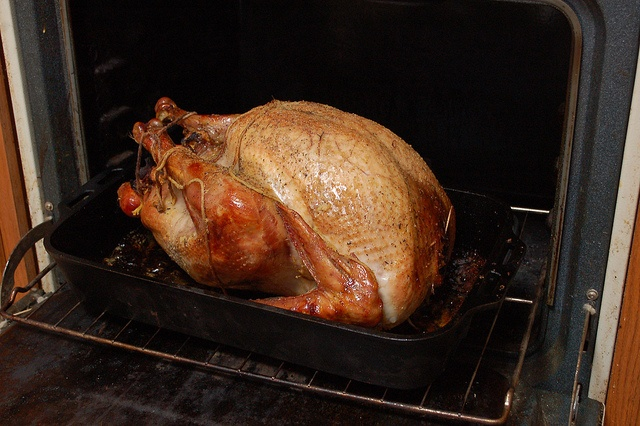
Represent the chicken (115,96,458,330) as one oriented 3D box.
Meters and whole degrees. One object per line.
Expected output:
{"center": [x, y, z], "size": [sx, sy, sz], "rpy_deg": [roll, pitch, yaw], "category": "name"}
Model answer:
{"center": [-0.145, -0.079, 2.123], "size": [1.187, 0.649, 0.849], "rpy_deg": [14, 36, 14], "category": "chicken"}
